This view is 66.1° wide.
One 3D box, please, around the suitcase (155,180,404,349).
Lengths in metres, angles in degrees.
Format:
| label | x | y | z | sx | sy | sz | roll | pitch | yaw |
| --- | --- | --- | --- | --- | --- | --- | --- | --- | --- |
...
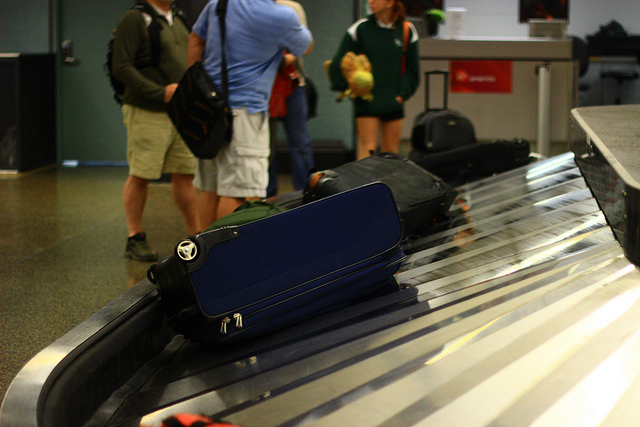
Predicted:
| label | x | y | z | sx | sy | sz | roll | pitch | yaw |
| --- | --- | --- | --- | --- | --- | --- | --- | --- | --- |
| suitcase | -0.105 | 0.107 | 1.474 | 0.598 | 0.177 | 0.471 | -19 | 8 | -12 |

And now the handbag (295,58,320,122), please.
| label | x | y | z | sx | sy | sz | roll | pitch | yaw |
| --- | --- | --- | --- | --- | --- | --- | --- | --- | --- |
| handbag | -0.055 | -0.767 | 3.110 | 0.096 | 0.332 | 0.246 | -8 | 12 | -1 |

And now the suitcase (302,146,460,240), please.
| label | x | y | z | sx | sy | sz | roll | pitch | yaw |
| --- | --- | --- | --- | --- | --- | --- | --- | --- | --- |
| suitcase | 0.307 | -0.051 | 2.063 | 0.401 | 0.149 | 0.487 | -14 | 42 | -31 |

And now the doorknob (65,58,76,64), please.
| label | x | y | z | sx | sy | sz | roll | pitch | yaw |
| --- | --- | --- | --- | --- | --- | --- | --- | --- | --- |
| doorknob | -2.878 | -1.770 | 5.676 | 0.117 | 0.049 | 0.041 | 4 | 15 | 9 |

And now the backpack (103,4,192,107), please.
| label | x | y | z | sx | sy | sz | roll | pitch | yaw |
| --- | --- | --- | --- | --- | --- | --- | --- | --- | --- |
| backpack | -0.975 | -0.948 | 2.924 | 0.619 | 0.594 | 0.441 | 3 | 16 | 4 |

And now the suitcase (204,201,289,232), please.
| label | x | y | z | sx | sy | sz | roll | pitch | yaw |
| --- | --- | --- | --- | --- | --- | --- | --- | --- | --- |
| suitcase | -0.240 | 0.005 | 1.583 | 0.152 | 0.060 | 0.119 | -16 | 8 | 22 |

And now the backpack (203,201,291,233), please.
| label | x | y | z | sx | sy | sz | roll | pitch | yaw |
| --- | --- | --- | --- | --- | --- | --- | --- | --- | --- |
| backpack | -0.233 | -0.025 | 1.577 | 0.156 | 0.118 | 0.226 | 7 | 13 | 35 |

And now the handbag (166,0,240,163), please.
| label | x | y | z | sx | sy | sz | roll | pitch | yaw |
| --- | --- | --- | --- | --- | --- | --- | --- | --- | --- |
| handbag | -0.515 | -0.564 | 2.122 | 0.328 | 0.676 | 0.172 | 13 | 18 | 39 |
